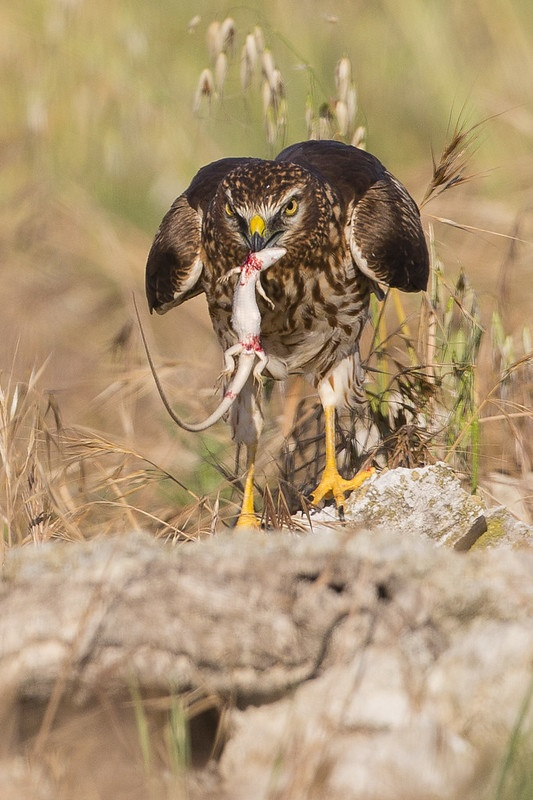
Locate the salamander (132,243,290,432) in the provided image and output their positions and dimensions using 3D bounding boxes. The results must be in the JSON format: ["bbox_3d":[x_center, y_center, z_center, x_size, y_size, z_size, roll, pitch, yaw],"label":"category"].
[{"bbox_3d":[-0.123,-0.179,3.279,0.429,0.693,0.423,-8,25,-11],"label":"salamander"}]
